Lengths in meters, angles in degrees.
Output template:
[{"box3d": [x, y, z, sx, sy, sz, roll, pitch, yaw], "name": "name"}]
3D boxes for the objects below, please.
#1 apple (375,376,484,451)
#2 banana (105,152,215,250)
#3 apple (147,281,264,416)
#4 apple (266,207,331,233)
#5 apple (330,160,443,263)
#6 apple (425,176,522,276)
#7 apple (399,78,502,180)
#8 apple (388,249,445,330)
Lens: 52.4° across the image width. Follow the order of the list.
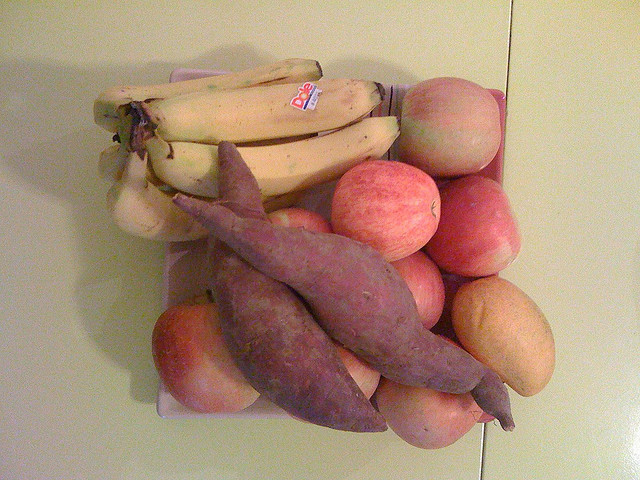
[{"box3d": [0.219, 0.340, 1.248, 0.154, 0.189, 0.105, 5, 71, -13], "name": "apple"}, {"box3d": [-0.321, -0.067, 1.345, 0.093, 0.292, 0.171, 22, 98, 27], "name": "banana"}, {"box3d": [-0.217, 0.249, 1.272, 0.203, 0.230, 0.125, 47, 128, 16], "name": "apple"}, {"box3d": [-0.036, -0.040, 1.242, 0.103, 0.057, 0.051, 15, 96, 4], "name": "apple"}, {"box3d": [0.099, -0.064, 1.292, 0.164, 0.202, 0.178, -4, 32, -11], "name": "apple"}, {"box3d": [0.313, -0.057, 1.393, 0.238, 0.172, 0.249, 11, 28, 21], "name": "apple"}, {"box3d": [0.273, -0.201, 1.376, 0.205, 0.196, 0.197, -4, 67, 13], "name": "apple"}, {"box3d": [0.182, 0.093, 1.237, 0.101, 0.102, 0.119, 17, 61, 42], "name": "apple"}]
